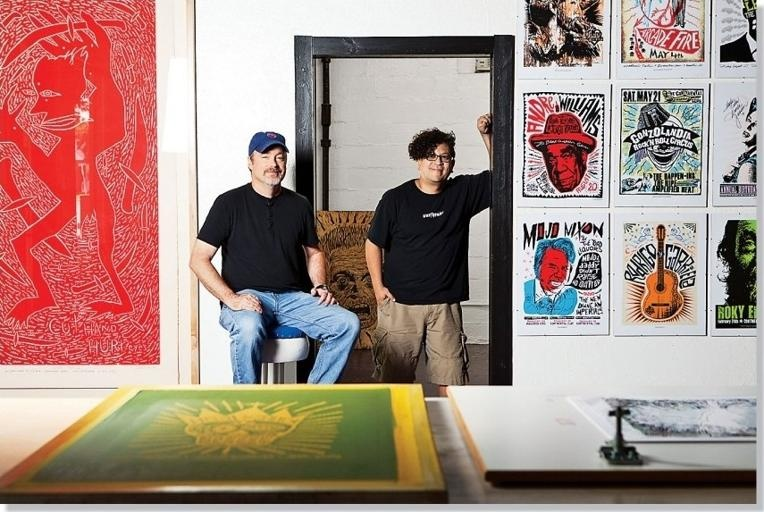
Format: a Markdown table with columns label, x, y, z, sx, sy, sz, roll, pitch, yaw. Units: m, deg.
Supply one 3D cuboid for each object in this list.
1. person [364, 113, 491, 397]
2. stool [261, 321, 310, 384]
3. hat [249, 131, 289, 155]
| label | x | y | z | sx | sy | sz | roll | pitch | yaw |
| --- | --- | --- | --- | --- | --- | --- | --- | --- | --- |
| person | 0.274 | 0.004 | 4.155 | 0.732 | 1.512 | 0.368 | 1 | 6 | 6 |
| stool | -0.533 | 0.529 | 3.835 | 0.308 | 0.449 | 0.270 | -1 | 5 | -11 |
| hat | -0.655 | -0.640 | 3.882 | 0.186 | 0.142 | 0.307 | 3 | 5 | -19 |
